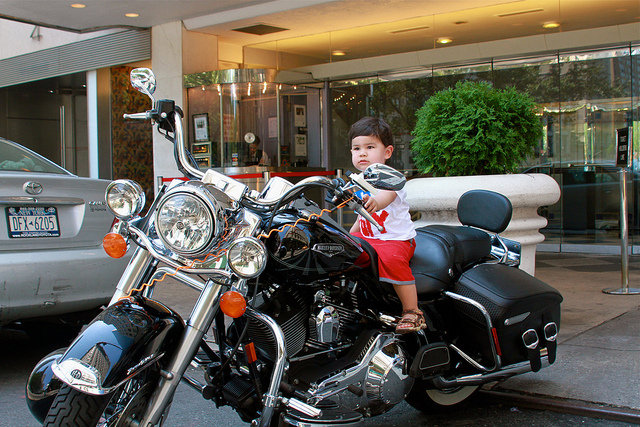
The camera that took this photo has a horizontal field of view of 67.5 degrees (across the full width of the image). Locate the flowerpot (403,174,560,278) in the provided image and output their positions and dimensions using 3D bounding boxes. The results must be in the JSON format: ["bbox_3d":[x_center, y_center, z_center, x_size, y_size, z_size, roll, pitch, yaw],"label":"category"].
[{"bbox_3d":[2.092,0.276,6.275,1.712,1.485,1.748,0,2,16],"label":"flowerpot"}]

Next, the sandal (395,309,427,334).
[{"bbox_3d":[0.546,0.657,2.931,0.097,0.093,0.220,-6,-9,30],"label":"sandal"}]

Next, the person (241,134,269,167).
[{"bbox_3d":[-1.569,-1.513,11.669,0.676,1.072,0.672,0,1,4],"label":"person"}]
